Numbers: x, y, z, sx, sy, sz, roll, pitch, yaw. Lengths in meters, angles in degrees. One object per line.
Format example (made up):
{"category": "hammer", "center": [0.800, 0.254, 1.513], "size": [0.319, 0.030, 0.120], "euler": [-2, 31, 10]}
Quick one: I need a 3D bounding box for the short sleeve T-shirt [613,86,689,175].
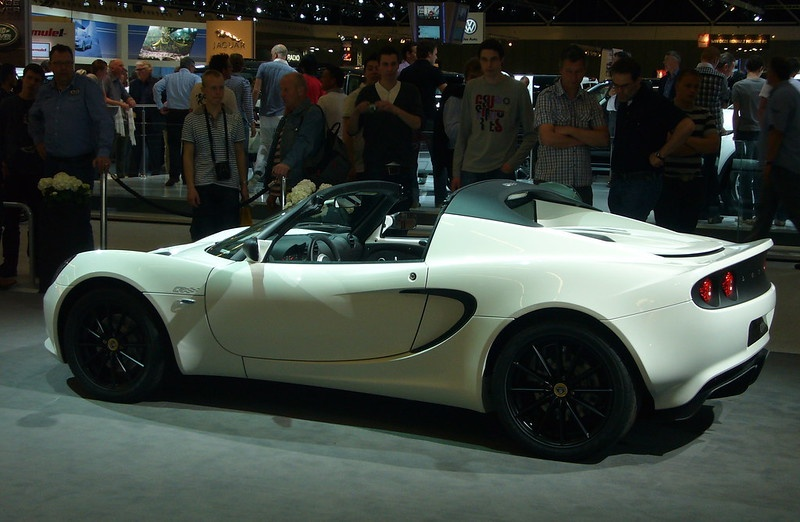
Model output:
{"category": "short sleeve T-shirt", "center": [2.857, -1.477, 6.800], "size": [0.514, 0.910, 1.037], "euler": [-6, 8, -31]}

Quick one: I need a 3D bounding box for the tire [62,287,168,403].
{"category": "tire", "center": [-2.190, 0.634, 4.627], "size": [0.787, 0.795, 0.286], "euler": [-8, 5, 21]}

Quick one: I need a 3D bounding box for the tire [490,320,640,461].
{"category": "tire", "center": [1.045, 0.796, 3.770], "size": [0.873, 0.881, 0.313], "euler": [3, 6, 20]}

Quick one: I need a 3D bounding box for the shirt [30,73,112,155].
{"category": "shirt", "center": [-4.314, -1.879, 7.787], "size": [1.203, 0.998, 0.537], "euler": [1, 5, 8]}

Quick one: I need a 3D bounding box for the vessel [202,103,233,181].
{"category": "vessel", "center": [-2.298, -1.451, 7.539], "size": [0.287, 0.882, 0.206], "euler": [-3, 11, -17]}

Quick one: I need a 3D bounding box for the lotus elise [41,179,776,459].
{"category": "lotus elise", "center": [-0.089, 0.319, 4.568], "size": [4.810, 1.459, 2.389], "euler": [4, 5, 20]}

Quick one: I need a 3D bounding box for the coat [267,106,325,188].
{"category": "coat", "center": [-1.349, -1.429, 7.560], "size": [0.613, 1.096, 1.049], "euler": [4, 1, -37]}
